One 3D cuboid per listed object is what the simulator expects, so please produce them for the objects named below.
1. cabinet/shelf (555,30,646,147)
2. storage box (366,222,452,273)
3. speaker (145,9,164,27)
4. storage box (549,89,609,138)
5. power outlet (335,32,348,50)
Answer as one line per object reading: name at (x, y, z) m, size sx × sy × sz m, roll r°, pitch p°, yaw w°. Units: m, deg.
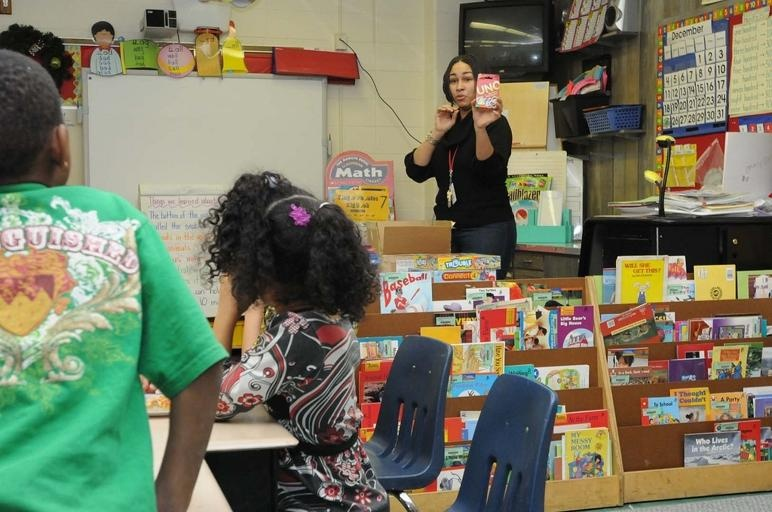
cabinet/shelf at (1.591, -1.210, 6.259) m, size 0.313 × 0.894 × 0.955 m, roll -1°, pitch 1°, yaw -25°
storage box at (0.117, -0.065, 4.446) m, size 0.297 × 0.192 × 0.309 m, roll -1°, pitch 1°, yaw -11°
speaker at (-1.660, -1.699, 6.151) m, size 0.123 × 0.126 × 0.118 m, roll -3°, pitch 10°, yaw -14°
storage box at (1.456, -1.036, 6.428) m, size 0.323 × 0.300 × 0.414 m, roll 0°, pitch 6°, yaw 41°
power outlet at (-0.361, -1.741, 6.977) m, size 0.029 × 0.114 × 0.126 m, roll -1°, pitch 3°, yaw 40°
